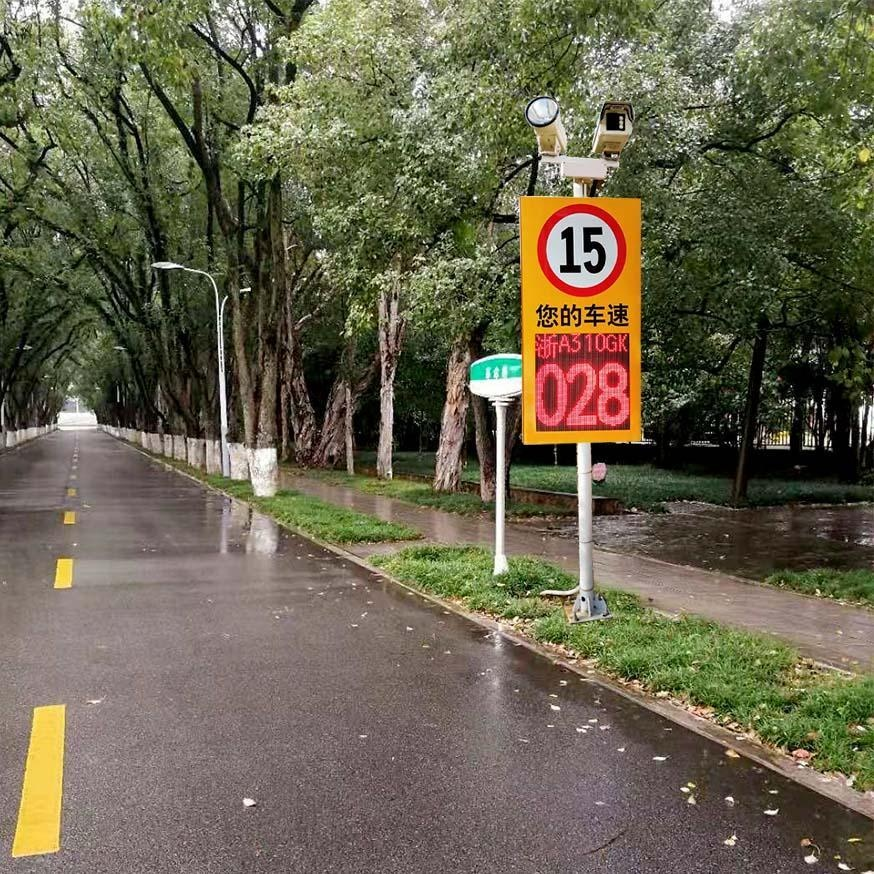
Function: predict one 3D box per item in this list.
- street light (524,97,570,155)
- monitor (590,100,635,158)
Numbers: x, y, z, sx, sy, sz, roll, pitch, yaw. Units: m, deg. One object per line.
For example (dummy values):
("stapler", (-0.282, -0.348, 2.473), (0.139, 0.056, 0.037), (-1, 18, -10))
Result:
("street light", (1.005, -2.661, 7.592), (0.280, 0.395, 0.532), (3, -10, 25))
("monitor", (1.557, -2.677, 7.677), (0.251, 0.399, 0.514), (3, -7, 1))
